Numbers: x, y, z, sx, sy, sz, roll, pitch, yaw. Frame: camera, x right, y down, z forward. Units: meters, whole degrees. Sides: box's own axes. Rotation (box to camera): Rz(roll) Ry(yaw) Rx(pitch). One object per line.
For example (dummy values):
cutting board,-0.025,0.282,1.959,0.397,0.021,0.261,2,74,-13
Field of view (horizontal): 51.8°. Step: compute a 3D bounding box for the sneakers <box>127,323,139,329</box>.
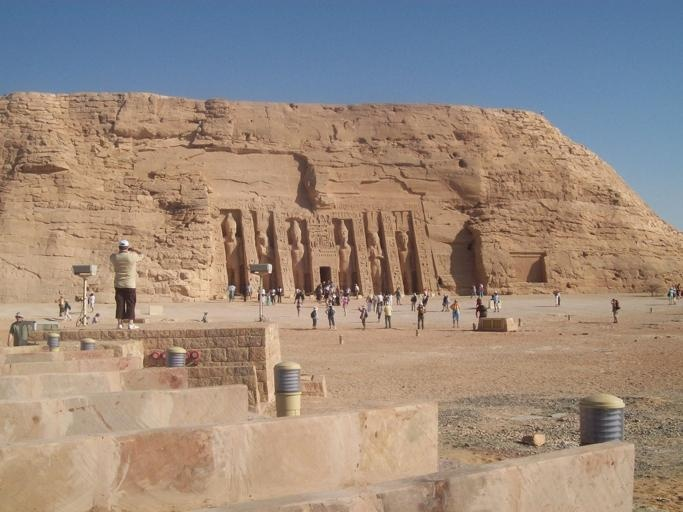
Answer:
sneakers,-2.638,0.879,8.898,0.075,0.066,0.183,4,4,17
